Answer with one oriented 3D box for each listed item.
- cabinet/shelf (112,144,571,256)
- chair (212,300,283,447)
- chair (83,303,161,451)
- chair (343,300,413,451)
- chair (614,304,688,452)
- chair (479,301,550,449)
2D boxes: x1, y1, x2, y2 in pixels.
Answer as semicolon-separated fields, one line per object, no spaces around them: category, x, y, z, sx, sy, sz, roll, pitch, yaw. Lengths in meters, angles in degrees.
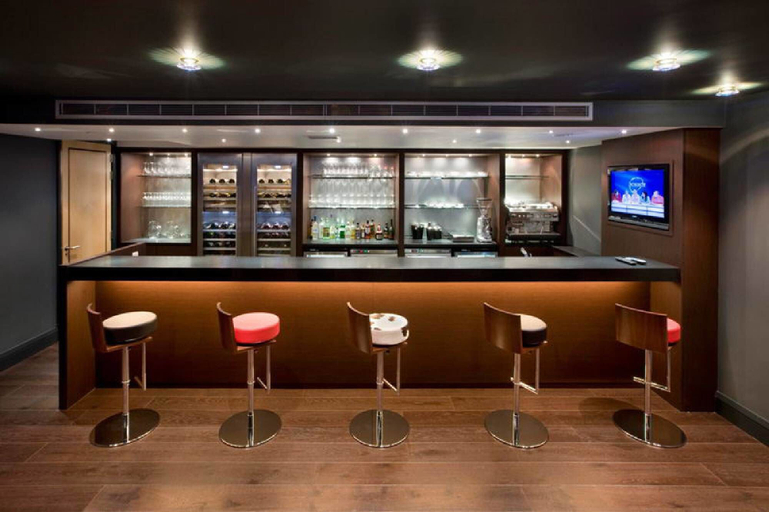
cabinet/shelf;-0.632;-0.817;8.894;6.629;1.671;0.809;-1;8;0
chair;-1.315;1.080;5.746;0.604;1.326;0.862;-1;8;4
chair;-2.523;1.083;5.736;0.622;1.297;0.792;-1;8;4
chair;-0.068;1.085;5.780;0.585;1.314;0.875;-2;8;-2
chair;2.631;1.103;5.779;0.676;1.300;0.844;2;9;22
chair;1.301;1.092;5.770;0.617;1.306;0.858;1;8;13
